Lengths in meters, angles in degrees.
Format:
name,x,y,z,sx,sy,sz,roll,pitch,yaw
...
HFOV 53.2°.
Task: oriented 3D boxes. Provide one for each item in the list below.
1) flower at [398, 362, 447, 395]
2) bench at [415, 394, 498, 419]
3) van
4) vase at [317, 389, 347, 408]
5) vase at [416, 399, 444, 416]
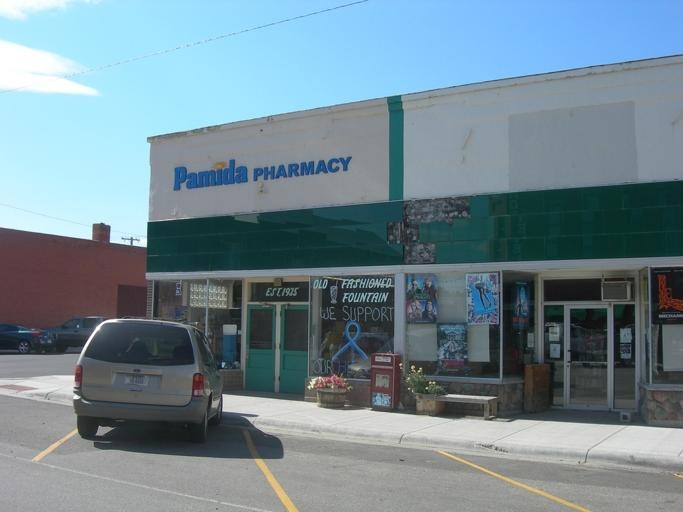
name,x,y,z,sx,sy,sz,roll,pitch,yaw
flower,2.069,3.106,17.148,1.062,0.747,0.787,-2,-8,18
bench,2.788,3.642,16.594,1.891,0.512,0.727,-4,-9,29
van,-3.847,2.539,14.557,2.552,2.249,4.573,4,-6,-7
vase,-0.257,3.668,17.576,0.518,0.317,0.499,4,-8,-10
vase,2.136,3.692,16.684,0.442,0.291,0.446,-1,-3,25
